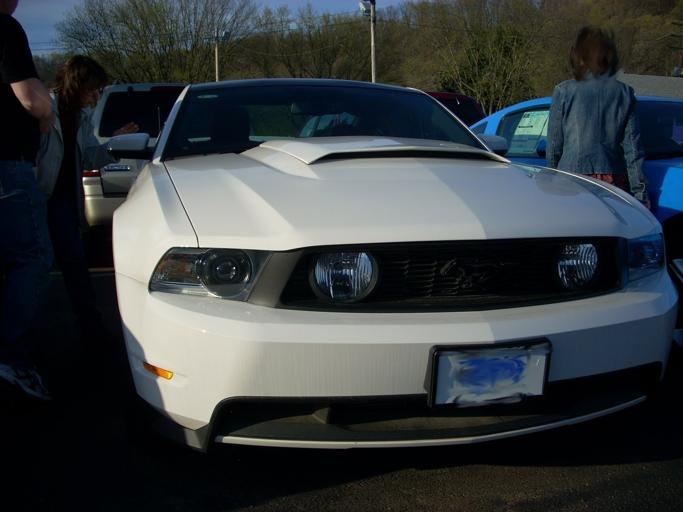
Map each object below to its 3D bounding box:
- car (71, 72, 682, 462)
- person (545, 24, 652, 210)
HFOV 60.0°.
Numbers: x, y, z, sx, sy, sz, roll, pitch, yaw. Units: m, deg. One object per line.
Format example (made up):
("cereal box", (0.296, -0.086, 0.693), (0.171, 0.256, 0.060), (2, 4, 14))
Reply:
("car", (0.130, -0.012, 2.849), (2.651, 1.185, 1.981), (9, 28, 27))
("person", (1.799, -0.614, 4.276), (0.643, 2.185, 0.411), (0, -17, 24))
